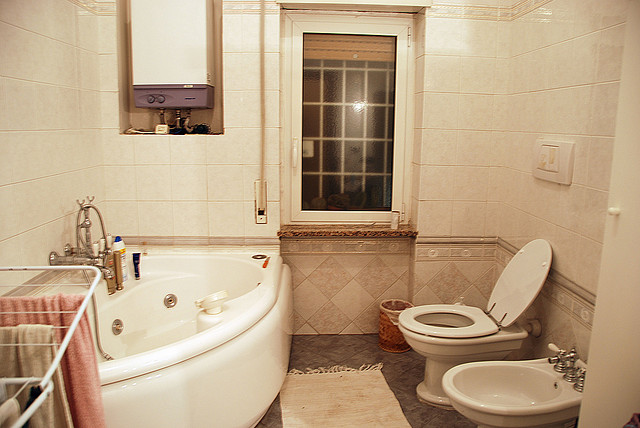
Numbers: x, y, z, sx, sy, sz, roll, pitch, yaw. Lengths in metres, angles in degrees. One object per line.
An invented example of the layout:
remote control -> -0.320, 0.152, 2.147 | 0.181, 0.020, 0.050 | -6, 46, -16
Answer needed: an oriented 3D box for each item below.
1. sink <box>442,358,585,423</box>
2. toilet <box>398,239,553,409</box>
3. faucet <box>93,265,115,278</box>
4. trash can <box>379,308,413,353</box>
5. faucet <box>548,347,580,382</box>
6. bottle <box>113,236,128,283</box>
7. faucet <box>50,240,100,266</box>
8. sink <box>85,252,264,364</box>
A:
sink -> 1.010, 0.947, 2.448 | 0.616, 0.171, 0.410 | -3, 9, -4
toilet -> 0.937, 0.699, 3.006 | 0.894, 1.024, 0.560 | 1, 8, 1
faucet -> -1.362, 0.368, 2.930 | 0.069, 0.080, 0.090 | 3, 10, 10
trash can -> 0.601, 0.900, 3.535 | 0.251, 0.238, 0.237 | -3, 5, -37
faucet -> 1.337, 0.797, 2.484 | 0.176, 0.141, 0.183 | -2, 12, 5
bottle -> -1.294, 0.301, 3.023 | 0.058, 0.298, 0.084 | -5, 15, -6
faucet -> -1.496, 0.270, 2.877 | 0.291, 0.145, 0.175 | 3, -1, -19
sink -> -1.050, 0.559, 3.031 | 0.739, 0.259, 0.794 | 5, 15, 18
